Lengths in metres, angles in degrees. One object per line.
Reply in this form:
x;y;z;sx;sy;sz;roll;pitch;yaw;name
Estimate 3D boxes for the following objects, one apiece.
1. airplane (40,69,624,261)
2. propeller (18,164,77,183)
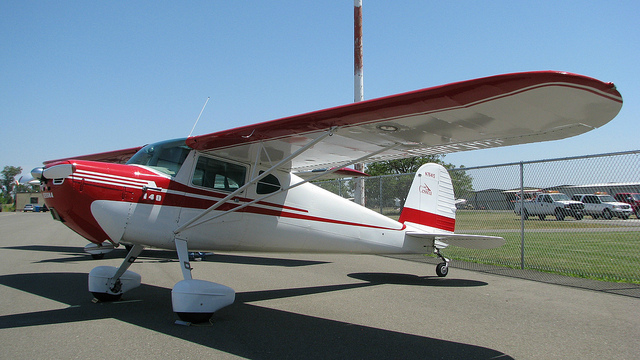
-0.344;-0.140;7.229;5.869;1.431;7.336;7;-11;-38;airplane
-4.512;-0.119;6.474;0.785;0.307;0.212;2;9;9;propeller
